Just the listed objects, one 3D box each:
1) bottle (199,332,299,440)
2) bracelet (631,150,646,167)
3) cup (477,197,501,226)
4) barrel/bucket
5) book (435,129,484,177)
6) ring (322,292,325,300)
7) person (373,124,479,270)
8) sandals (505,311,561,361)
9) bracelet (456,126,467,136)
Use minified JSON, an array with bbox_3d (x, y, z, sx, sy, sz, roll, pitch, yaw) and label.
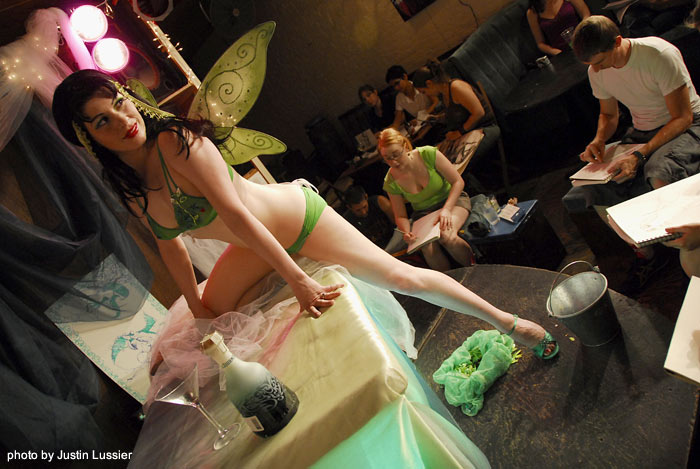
[{"bbox_3d":[-0.438,0.688,2.147,0.203,0.465,0.193,-37,16,13],"label":"bottle"},{"bbox_3d":[2.011,-0.527,3.368,0.054,0.077,0.085,-39,-23,-4],"label":"bracelet"},{"bbox_3d":[1.191,-0.194,4.170,0.091,0.192,0.263,-7,36,5],"label":"cup"},{"bbox_3d":[1.252,0.401,2.624,0.206,0.307,0.280,-19,20,45],"label":"barrel/bucket"},{"bbox_3d":[1.162,-0.907,4.913,0.480,0.170,0.472,-52,25,10],"label":"book"},{"bbox_3d":[-0.132,0.303,2.370,0.018,0.028,0.009,9,10,26],"label":"ring"},{"bbox_3d":[0.724,-0.316,4.459,0.549,1.379,0.793,-34,11,28],"label":"person"},{"bbox_3d":[1.005,0.574,2.637,0.094,0.355,0.153,-21,-37,-59],"label":"sandals"},{"bbox_3d":[1.188,-1.101,5.128,0.067,0.018,0.072,6,73,55],"label":"bracelet"}]
